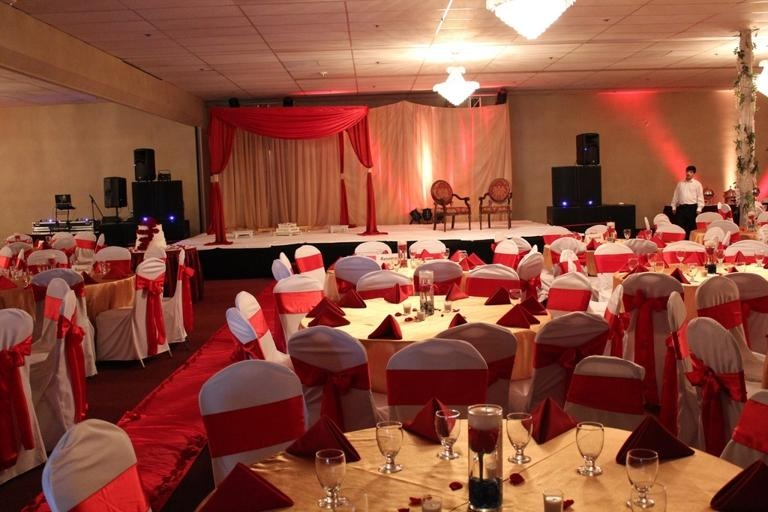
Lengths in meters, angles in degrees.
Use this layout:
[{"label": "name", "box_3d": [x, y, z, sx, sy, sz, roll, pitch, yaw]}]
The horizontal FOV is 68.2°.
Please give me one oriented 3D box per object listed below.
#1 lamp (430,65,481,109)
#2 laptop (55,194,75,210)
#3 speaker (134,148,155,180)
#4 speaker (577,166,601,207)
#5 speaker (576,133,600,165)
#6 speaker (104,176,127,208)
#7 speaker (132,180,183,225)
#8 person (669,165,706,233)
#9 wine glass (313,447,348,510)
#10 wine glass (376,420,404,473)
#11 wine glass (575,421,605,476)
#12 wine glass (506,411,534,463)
[{"label": "lamp", "box_3d": [1.382, -3.237, 11.014, 0.926, 0.749, 0.966, -4, 10, -1]}, {"label": "laptop", "box_3d": [-7.850, -1.297, 13.895, 0.476, 0.422, 0.467, 4, -4, -13]}, {"label": "speaker", "box_3d": [-5.562, -2.099, 13.219, 0.455, 0.723, 0.348, -9, 16, -29]}, {"label": "speaker", "box_3d": [4.906, -1.668, 13.546, 0.512, 0.897, 0.304, -3, 14, -9]}, {"label": "speaker", "box_3d": [4.945, -2.563, 13.742, 0.506, 0.740, 0.578, 3, 15, 16]}, {"label": "speaker", "box_3d": [-6.569, -1.535, 13.777, 0.585, 0.856, 0.584, -7, 5, -41]}, {"label": "speaker", "box_3d": [-5.198, -1.225, 12.990, 1.181, 1.163, 0.575, 0, 1, -5]}, {"label": "person", "box_3d": [6.525, -1.187, 12.183, 0.569, 1.525, 1.594, 6, 16, 27]}, {"label": "wine glass", "box_3d": [-0.226, 0.986, 2.477, 0.124, 0.254, 0.228, -3, 14, -6]}, {"label": "wine glass", "box_3d": [0.028, 0.905, 2.692, 0.126, 0.209, 0.137, -11, -38, 13]}, {"label": "wine glass", "box_3d": [0.973, 0.883, 2.681, 0.119, 0.237, 0.194, 4, 15, 21]}, {"label": "wine glass", "box_3d": [0.675, 0.902, 2.825, 0.130, 0.223, 0.140, -1, -2, 29]}]
